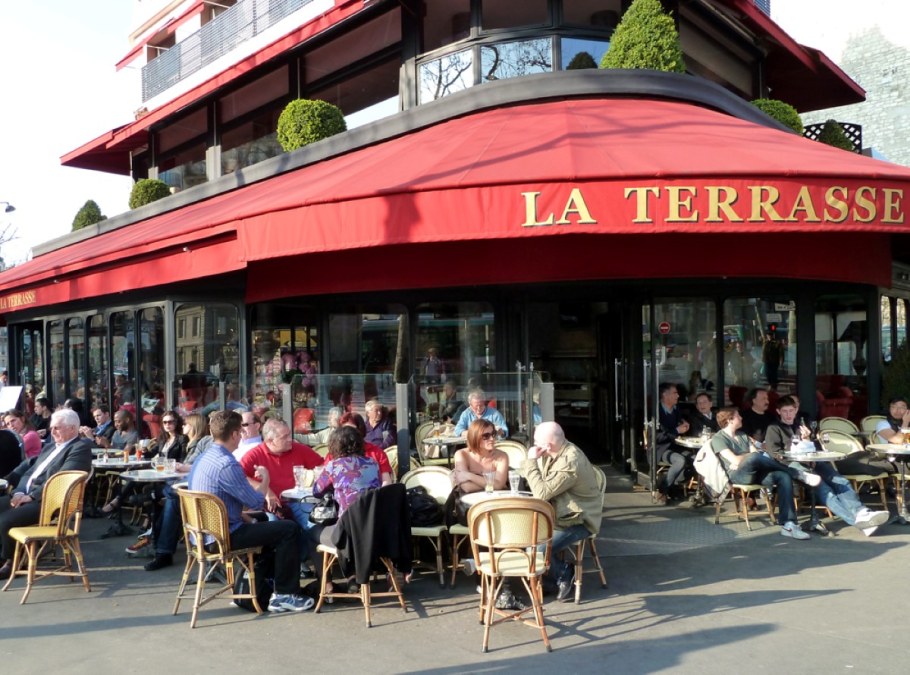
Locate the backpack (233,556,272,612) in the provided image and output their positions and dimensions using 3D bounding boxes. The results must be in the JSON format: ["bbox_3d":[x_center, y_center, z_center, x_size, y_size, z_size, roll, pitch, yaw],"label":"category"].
[{"bbox_3d":[-2.183,2.692,11.533,0.268,0.553,0.354,3,-31,11],"label":"backpack"}]

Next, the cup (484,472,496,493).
[{"bbox_3d":[0.405,1.622,11.923,0.155,0.248,0.152,1,-16,0],"label":"cup"}]

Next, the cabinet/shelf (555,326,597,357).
[{"bbox_3d":[2.293,0.104,20.002,0.864,0.892,0.470,0,-2,22],"label":"cabinet/shelf"}]

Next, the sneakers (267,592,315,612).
[{"bbox_3d":[-1.762,2.861,11.449,0.483,0.252,0.198,1,-3,-9],"label":"sneakers"}]

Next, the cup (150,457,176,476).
[{"bbox_3d":[-3.712,1.642,13.534,0.323,0.237,0.187,1,0,9],"label":"cup"}]

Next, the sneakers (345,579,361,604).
[{"bbox_3d":[-1.107,2.796,11.696,0.184,0.099,0.285,3,8,-12],"label":"sneakers"}]

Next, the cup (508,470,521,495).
[{"bbox_3d":[0.690,1.634,12.085,0.176,0.284,0.164,2,-8,0],"label":"cup"}]

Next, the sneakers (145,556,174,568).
[{"bbox_3d":[-3.528,2.689,12.723,0.331,0.151,0.120,8,-8,-31],"label":"sneakers"}]

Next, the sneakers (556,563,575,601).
[{"bbox_3d":[1.223,2.687,11.645,0.163,0.413,0.134,5,-5,-13],"label":"sneakers"}]

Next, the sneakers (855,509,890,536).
[{"bbox_3d":[5.085,2.215,12.957,0.240,0.220,0.493,6,-38,-6],"label":"sneakers"}]

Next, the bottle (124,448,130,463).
[{"bbox_3d":[-4.492,1.619,14.548,0.052,0.163,0.162,1,-4,-15],"label":"bottle"}]

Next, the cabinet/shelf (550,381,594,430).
[{"bbox_3d":[2.309,1.355,20.446,0.908,0.910,0.689,-2,1,23],"label":"cabinet/shelf"}]

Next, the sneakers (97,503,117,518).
[{"bbox_3d":[-4.938,2.444,15.121,0.201,0.232,0.602,4,-6,-31],"label":"sneakers"}]
